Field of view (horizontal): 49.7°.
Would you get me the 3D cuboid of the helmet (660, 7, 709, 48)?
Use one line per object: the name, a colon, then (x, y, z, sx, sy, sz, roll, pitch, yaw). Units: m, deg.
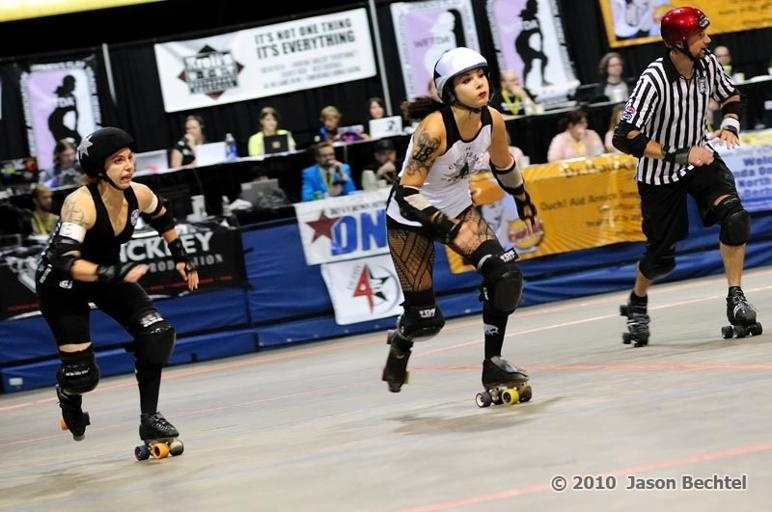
helmet: (2.380, -1.845, 6.633, 0.350, 0.277, 0.308, -7, 24, 17)

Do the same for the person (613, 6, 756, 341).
person: (2.424, -0.640, 6.853, 1.099, 2.712, 1.052, -3, 9, 20)

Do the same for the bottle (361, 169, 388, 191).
bottle: (-0.143, -0.904, 10.156, 0.331, 0.338, 0.203, 10, -24, -27)

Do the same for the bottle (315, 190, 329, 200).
bottle: (-0.788, -0.734, 10.140, 0.132, 0.134, 0.137, 7, -11, -33)

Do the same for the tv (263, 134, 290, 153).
tv: (-1.402, -1.440, 10.620, 0.275, 0.256, 0.062, -3, -9, -17)

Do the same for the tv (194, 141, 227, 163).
tv: (-2.282, -1.324, 10.762, 0.351, 0.251, 0.048, -5, 1, -17)

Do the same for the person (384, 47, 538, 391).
person: (0.465, -0.196, 5.831, 1.154, 2.427, 0.828, -5, 9, 10)

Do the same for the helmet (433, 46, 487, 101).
helmet: (0.504, -1.228, 5.646, 0.350, 0.354, 0.212, -6, 9, 6)

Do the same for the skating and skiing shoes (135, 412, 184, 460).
skating and skiing shoes: (-1.540, 1.214, 5.601, 0.352, 0.277, 0.220, -6, -8, 42)

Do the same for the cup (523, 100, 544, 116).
cup: (2.063, -2.086, 11.672, 0.267, 0.279, 0.266, -2, 0, 0)

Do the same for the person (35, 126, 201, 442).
person: (-1.961, 0.255, 5.900, 0.993, 2.268, 0.840, -5, 9, 9)
